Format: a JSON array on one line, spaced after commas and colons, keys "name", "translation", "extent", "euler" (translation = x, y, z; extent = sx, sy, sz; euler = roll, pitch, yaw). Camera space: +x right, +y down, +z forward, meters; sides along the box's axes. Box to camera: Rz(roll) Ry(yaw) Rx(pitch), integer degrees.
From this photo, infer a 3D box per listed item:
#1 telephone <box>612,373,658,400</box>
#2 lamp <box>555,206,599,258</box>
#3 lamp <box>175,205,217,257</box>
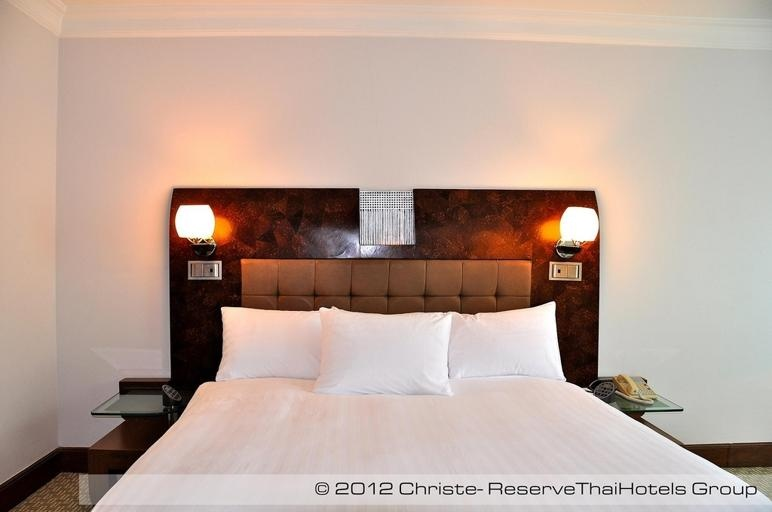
[{"name": "telephone", "translation": [1.767, 0.933, 4.069], "extent": [0.151, 0.092, 0.260], "euler": [0, -4, -15]}, {"name": "lamp", "translation": [1.406, -0.154, 4.196], "extent": [0.244, 0.342, 0.255], "euler": [10, -7, -40]}, {"name": "lamp", "translation": [-1.369, -0.155, 4.109], "extent": [0.193, 0.291, 0.197], "euler": [-7, -13, 20]}]
